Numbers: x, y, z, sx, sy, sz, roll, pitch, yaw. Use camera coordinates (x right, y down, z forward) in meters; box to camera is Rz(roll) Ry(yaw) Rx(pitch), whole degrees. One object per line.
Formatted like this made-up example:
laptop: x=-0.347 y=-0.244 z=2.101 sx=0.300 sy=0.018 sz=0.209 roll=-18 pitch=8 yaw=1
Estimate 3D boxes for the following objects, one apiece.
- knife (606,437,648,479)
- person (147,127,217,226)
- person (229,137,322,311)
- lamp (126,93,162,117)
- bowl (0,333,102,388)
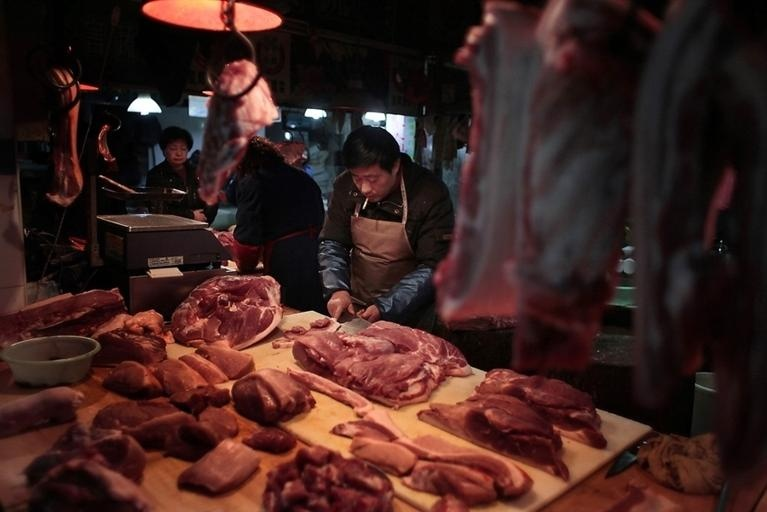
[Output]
knife: x=1.100 y=0.841 z=2.393 sx=0.078 sy=0.048 sz=0.465 roll=-1 pitch=10 yaw=42
person: x=-2.277 y=-0.927 z=6.095 sx=0.745 sy=1.047 sz=0.542 roll=0 pitch=9 yaw=-32
person: x=-0.962 y=-0.258 z=5.007 sx=0.877 sy=1.602 sz=0.375 roll=-2 pitch=11 yaw=-41
lamp: x=-2.598 y=-1.633 z=5.781 sx=0.212 sy=0.100 sz=0.214 roll=-2 pitch=-1 yaw=43
bowl: x=-1.709 y=0.546 z=2.770 sx=0.405 sy=0.209 sz=0.409 roll=5 pitch=7 yaw=-1
